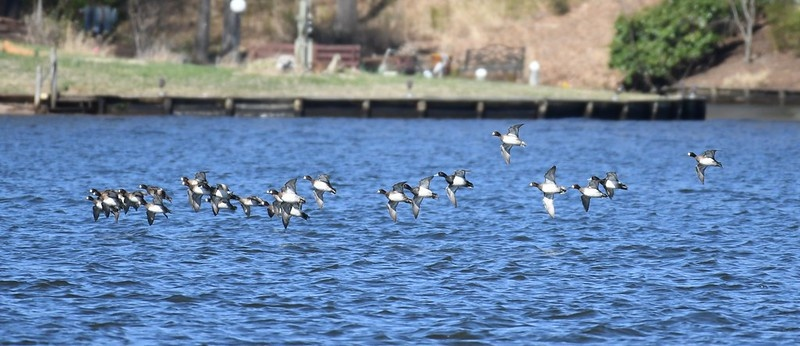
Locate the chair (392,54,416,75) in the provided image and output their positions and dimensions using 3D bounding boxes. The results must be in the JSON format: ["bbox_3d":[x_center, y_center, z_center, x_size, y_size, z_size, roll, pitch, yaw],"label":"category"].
[{"bbox_3d":[0.557,-14.067,165.307,3.200,2.497,1.606,4,-10,-9],"label":"chair"}]
